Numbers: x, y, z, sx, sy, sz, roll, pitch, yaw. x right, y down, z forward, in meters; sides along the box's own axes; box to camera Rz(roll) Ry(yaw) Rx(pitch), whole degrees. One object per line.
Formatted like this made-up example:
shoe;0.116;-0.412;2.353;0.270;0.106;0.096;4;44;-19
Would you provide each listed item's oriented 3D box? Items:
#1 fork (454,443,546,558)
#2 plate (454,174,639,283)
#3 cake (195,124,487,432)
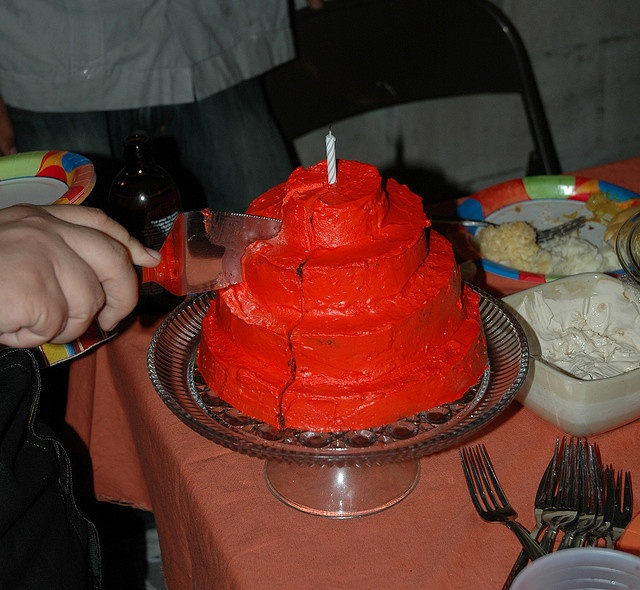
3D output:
fork;0.293;0.326;1.016;0.042;0.030;0.218;7;37;-26
plate;0.648;-0.244;1.872;0.425;0.041;0.371;-16;38;-12
cake;0.062;0.018;1.236;0.571;0.443;0.508;-8;35;0
